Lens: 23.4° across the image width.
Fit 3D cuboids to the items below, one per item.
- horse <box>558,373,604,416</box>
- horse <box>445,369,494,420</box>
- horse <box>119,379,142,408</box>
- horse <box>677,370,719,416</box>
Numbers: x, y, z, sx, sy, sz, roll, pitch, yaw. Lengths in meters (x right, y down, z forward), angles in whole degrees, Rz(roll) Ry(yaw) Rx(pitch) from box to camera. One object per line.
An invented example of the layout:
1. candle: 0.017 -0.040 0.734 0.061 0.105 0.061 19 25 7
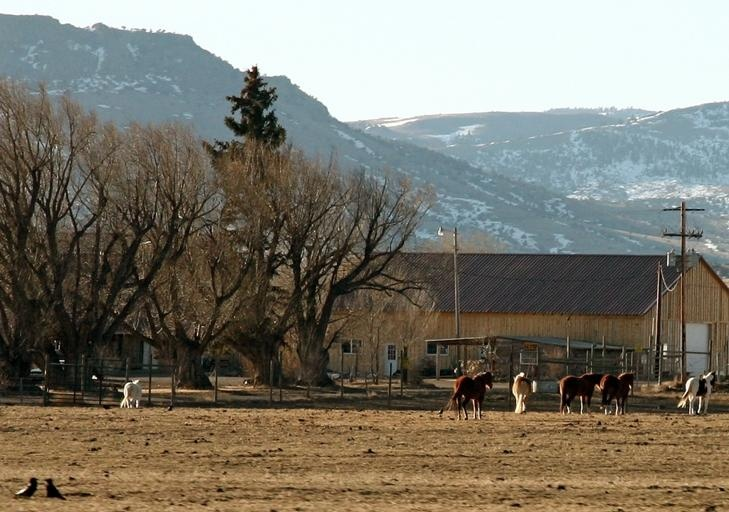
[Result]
1. horse: 16.044 9.859 128.999 4.246 2.915 1.092 3 -4 -41
2. horse: 7.496 9.564 124.628 2.546 3.977 4.547 -3 -3 -4
3. horse: -17.485 10.142 131.006 1.428 2.044 1.998 0 8 -7
4. horse: 24.868 9.856 130.073 1.085 3.317 4.585 5 -1 41
